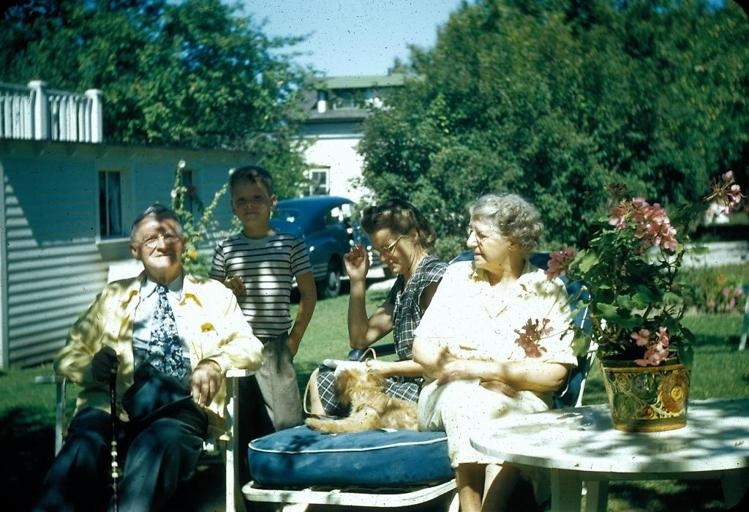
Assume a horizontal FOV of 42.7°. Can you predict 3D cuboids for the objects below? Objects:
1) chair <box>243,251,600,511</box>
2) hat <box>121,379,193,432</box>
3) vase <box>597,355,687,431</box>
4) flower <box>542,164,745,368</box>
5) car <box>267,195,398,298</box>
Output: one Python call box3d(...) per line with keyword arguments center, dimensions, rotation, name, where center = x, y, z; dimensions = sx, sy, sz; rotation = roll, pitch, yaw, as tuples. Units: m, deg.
box3d(center=(0.491, 1.066, 8.623), dimensions=(1.736, 1.791, 2.784), rotation=(-4, -6, 39), name="chair")
box3d(center=(-1.796, 1.184, 7.950), dimensions=(0.453, 0.180, 0.390), rotation=(-32, 17, 4), name="hat")
box3d(center=(2.069, 1.054, 7.401), dimensions=(0.577, 0.402, 0.521), rotation=(-4, -2, 4), name="vase")
box3d(center=(2.004, 0.091, 7.283), dimensions=(1.346, 1.470, 0.291), rotation=(0, 1, -1), name="flower")
box3d(center=(-0.735, -0.257, 14.969), dimensions=(1.066, 0.929, 2.018), rotation=(3, 10, 33), name="car")
